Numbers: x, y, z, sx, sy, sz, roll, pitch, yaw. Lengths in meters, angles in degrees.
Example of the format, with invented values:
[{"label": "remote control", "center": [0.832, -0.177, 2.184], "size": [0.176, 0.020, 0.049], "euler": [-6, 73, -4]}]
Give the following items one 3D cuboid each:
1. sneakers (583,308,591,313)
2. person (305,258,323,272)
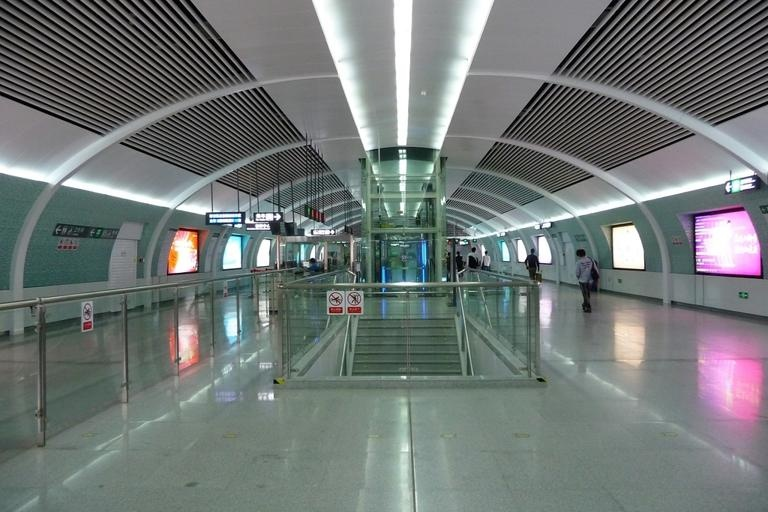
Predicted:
[{"label": "sneakers", "center": [5.998, 1.607, 12.966], "size": [0.137, 0.130, 0.182], "euler": [-4, -7, 4]}, {"label": "person", "center": [-3.627, 0.505, 22.611], "size": [0.440, 0.646, 1.303], "euler": [3, 2, 4]}]
